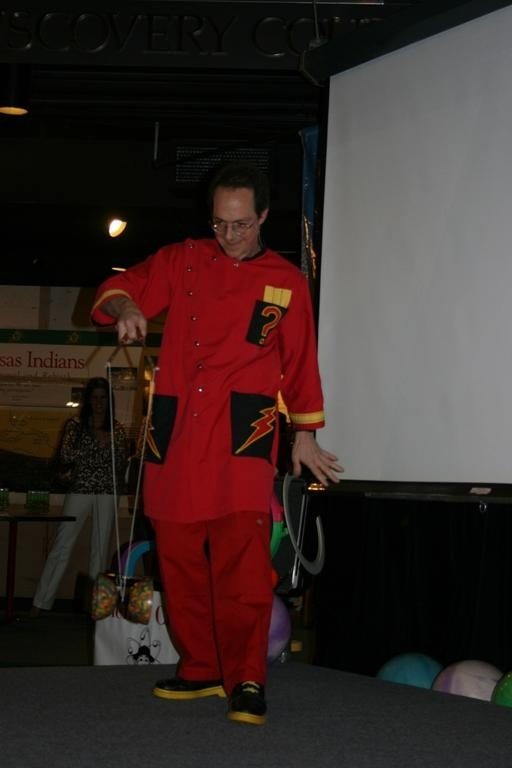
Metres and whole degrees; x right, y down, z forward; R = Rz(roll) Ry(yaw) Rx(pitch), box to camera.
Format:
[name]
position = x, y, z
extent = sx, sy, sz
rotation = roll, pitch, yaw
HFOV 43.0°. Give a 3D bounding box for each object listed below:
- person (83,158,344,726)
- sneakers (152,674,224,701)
[person]
position = -0.099, 0.120, 1.658
extent = 0.432, 1.315, 0.701
rotation = -7, -16, 38
[sneakers]
position = -0.167, 0.752, 1.597
extent = 0.165, 0.068, 0.065
rotation = 7, -17, -7
